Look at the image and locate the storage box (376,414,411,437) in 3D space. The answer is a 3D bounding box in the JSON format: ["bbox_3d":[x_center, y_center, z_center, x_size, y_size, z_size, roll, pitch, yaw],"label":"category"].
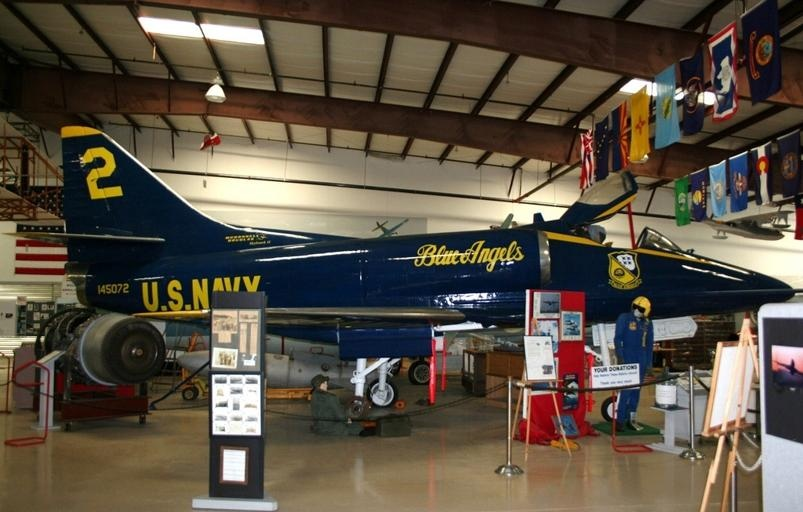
[{"bbox_3d":[-0.172,3.758,16.010,0.692,0.386,0.451,1,-3,-16],"label":"storage box"}]

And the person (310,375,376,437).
[{"bbox_3d":[-1.441,3.320,16.587,1.350,1.344,0.978,-1,-5,-39],"label":"person"}]

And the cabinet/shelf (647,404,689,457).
[{"bbox_3d":[5.753,3.707,15.585,0.815,0.942,0.787,-2,-8,21],"label":"cabinet/shelf"}]

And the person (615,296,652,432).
[{"bbox_3d":[5.273,2.364,16.354,0.936,3.047,0.824,2,-8,-8],"label":"person"}]
